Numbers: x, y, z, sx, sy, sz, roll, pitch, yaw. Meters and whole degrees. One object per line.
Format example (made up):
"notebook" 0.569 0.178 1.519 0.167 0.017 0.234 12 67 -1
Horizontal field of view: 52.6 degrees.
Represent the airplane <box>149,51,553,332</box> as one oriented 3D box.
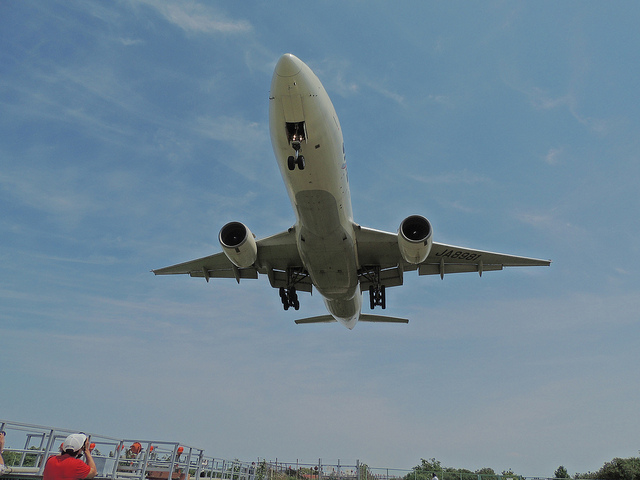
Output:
"airplane" 0.010 -0.600 24.649 12.659 4.622 11.582 -4 -42 9
